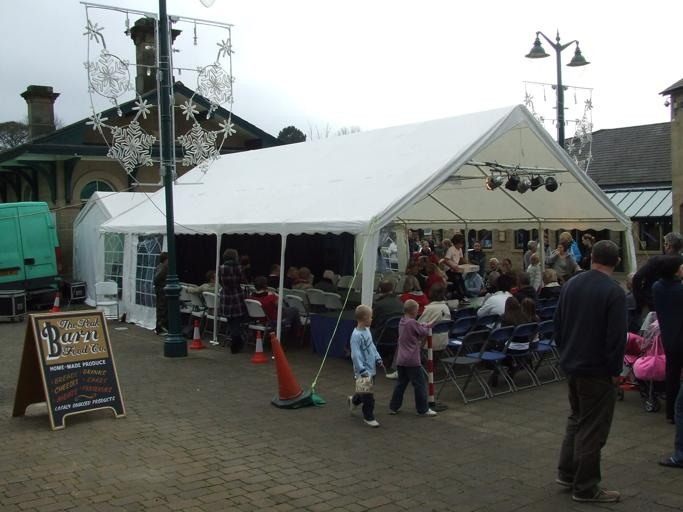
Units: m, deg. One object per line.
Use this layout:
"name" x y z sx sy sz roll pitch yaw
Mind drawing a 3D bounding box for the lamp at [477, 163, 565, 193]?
"lamp" 3.265 -1.461 12.970 1.317 0.570 2.080 4 8 37

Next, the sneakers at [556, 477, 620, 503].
"sneakers" 2.268 2.170 6.396 0.555 0.247 0.189 -2 0 -3

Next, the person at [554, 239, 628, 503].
"person" 2.260 1.040 6.382 0.595 2.322 0.512 1 7 14

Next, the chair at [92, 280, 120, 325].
"chair" -5.216 0.987 15.517 0.492 0.904 1.262 -3 7 -18
